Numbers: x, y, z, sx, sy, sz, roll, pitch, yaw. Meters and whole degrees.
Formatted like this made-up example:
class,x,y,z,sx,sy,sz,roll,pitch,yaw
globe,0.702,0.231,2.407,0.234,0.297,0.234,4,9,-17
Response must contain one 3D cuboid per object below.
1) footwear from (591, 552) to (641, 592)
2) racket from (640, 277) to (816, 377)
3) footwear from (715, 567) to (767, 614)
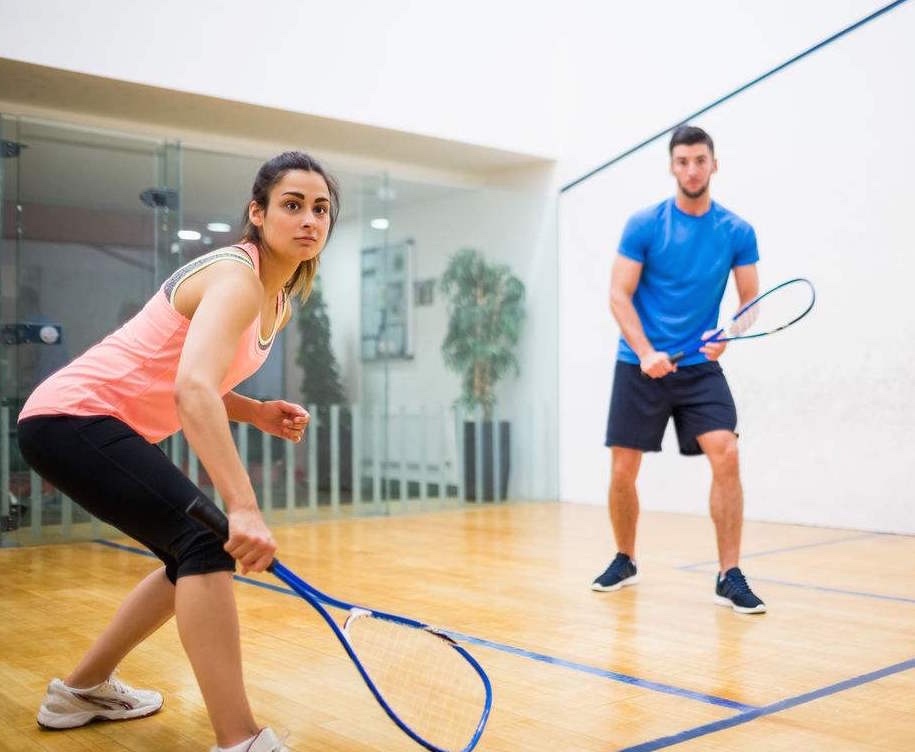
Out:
class,x,y,z,sx,sy,sz,roll,pitch,yaw
footwear,0.620,0.761,2.763,0.082,0.120,0.254,-4,-8,34
racket,1.173,-0.211,3.020,0.943,0.275,0.073,-29,21,-13
footwear,0.971,0.733,2.453,0.088,0.127,0.262,3,-8,-12
